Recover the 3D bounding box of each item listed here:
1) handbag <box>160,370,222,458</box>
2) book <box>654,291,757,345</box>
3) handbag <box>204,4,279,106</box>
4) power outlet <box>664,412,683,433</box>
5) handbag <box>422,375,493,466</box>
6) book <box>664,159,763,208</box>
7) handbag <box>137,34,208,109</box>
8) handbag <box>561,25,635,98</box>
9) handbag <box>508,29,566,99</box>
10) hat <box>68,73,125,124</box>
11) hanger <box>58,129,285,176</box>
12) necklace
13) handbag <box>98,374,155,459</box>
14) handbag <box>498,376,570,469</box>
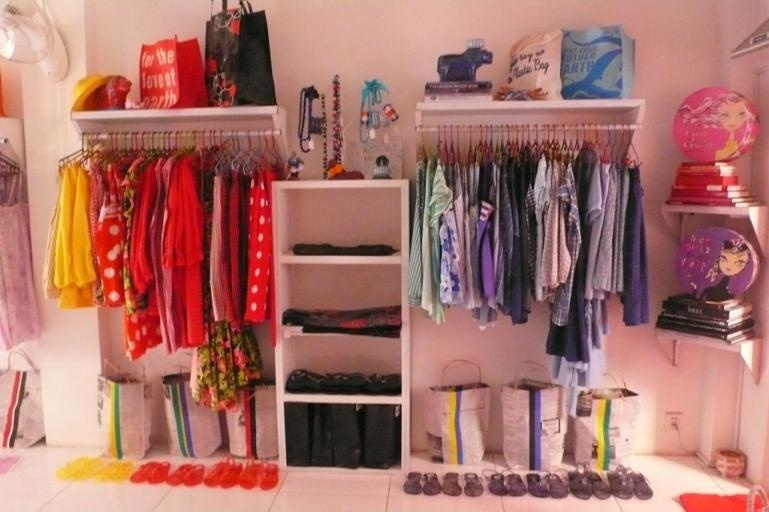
[{"bbox_3d":[-1.378,1.166,4.507,0.380,0.562,0.147,-3,6,-13],"label":"handbag"},{"bbox_3d":[2.197,0.321,4.176,0.335,0.221,0.458,-6,9,-43],"label":"book"},{"bbox_3d":[-1.004,-1.312,4.170,0.507,0.625,0.192,1,6,25],"label":"handbag"},{"bbox_3d":[2.065,1.180,4.444,0.144,0.162,0.026,1,0,5],"label":"power outlet"},{"bbox_3d":[0.520,1.161,4.401,0.599,0.722,0.329,0,0,-1],"label":"handbag"},{"bbox_3d":[2.139,-0.464,4.100,0.364,0.226,0.360,2,6,31],"label":"book"},{"bbox_3d":[-1.348,-1.242,4.286,0.508,0.507,0.399,3,10,36],"label":"handbag"},{"bbox_3d":[1.400,-1.271,4.107,0.458,0.437,0.183,2,10,12],"label":"handbag"},{"bbox_3d":[1.014,-1.247,4.094,0.432,0.468,0.149,12,20,35],"label":"handbag"},{"bbox_3d":[-1.990,-1.120,4.288,0.487,0.275,0.191,0,6,18],"label":"hat"},{"bbox_3d":[-1.458,-0.729,4.400,1.557,0.291,0.425,-2,6,-2],"label":"hanger"},{"bbox_3d":[-0.443,-0.899,4.329,0.333,0.727,0.289,-2,6,-6],"label":"necklace"},{"bbox_3d":[-1.865,1.155,4.481,0.369,0.579,0.179,-3,6,-14],"label":"handbag"},{"bbox_3d":[1.042,1.186,4.341,0.428,0.599,0.116,0,6,12],"label":"handbag"}]
